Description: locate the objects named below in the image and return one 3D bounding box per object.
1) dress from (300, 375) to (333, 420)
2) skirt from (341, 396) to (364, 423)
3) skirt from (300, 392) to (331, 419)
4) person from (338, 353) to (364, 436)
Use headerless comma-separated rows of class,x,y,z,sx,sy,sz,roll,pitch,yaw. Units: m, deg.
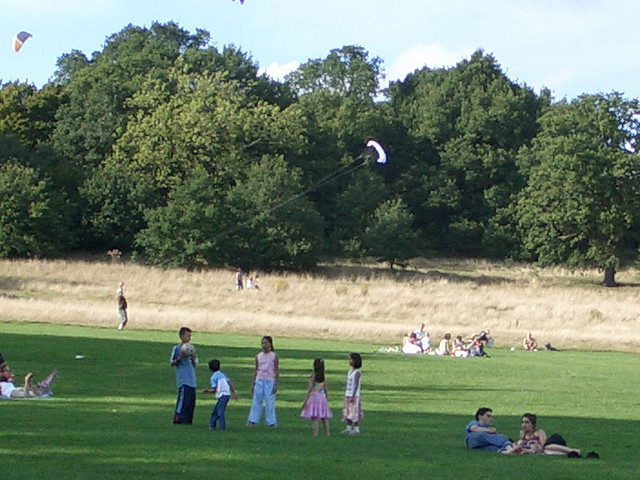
dress,-0.146,9.032,87.752,1.695,2.856,1.805,4,-12,-16
skirt,1.764,9.575,88.441,1.252,1.638,1.207,-3,-6,38
skirt,-0.242,9.334,88.082,1.462,1.509,1.328,5,-11,-24
person,1.765,8.713,88.161,1.267,4.487,0.855,2,5,0
